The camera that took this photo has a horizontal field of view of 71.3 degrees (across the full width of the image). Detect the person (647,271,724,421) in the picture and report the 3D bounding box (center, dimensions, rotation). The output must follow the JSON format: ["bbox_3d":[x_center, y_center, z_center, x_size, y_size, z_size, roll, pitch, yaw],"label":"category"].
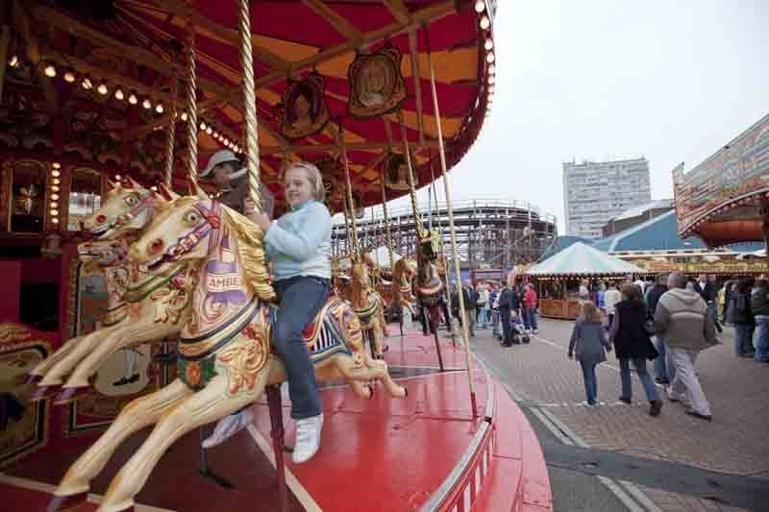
[{"bbox_3d":[4.604,1.284,8.259,0.844,2.065,0.901,2,7,39],"label":"person"}]

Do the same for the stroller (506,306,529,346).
[{"bbox_3d":[3.528,1.810,13.934,0.502,0.918,1.038,-1,5,15],"label":"stroller"}]

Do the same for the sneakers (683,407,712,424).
[{"bbox_3d":[4.607,2.335,7.904,0.103,0.128,0.290,5,2,-33],"label":"sneakers"}]

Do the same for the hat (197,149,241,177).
[{"bbox_3d":[-1.792,-1.010,5.842,0.397,0.215,0.266,-16,0,-16],"label":"hat"}]

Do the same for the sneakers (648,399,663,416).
[{"bbox_3d":[4.023,2.235,7.991,0.123,0.333,0.145,0,-1,6],"label":"sneakers"}]

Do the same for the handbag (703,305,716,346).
[{"bbox_3d":[4.920,1.082,8.130,0.163,0.610,0.363,1,6,31],"label":"handbag"}]
